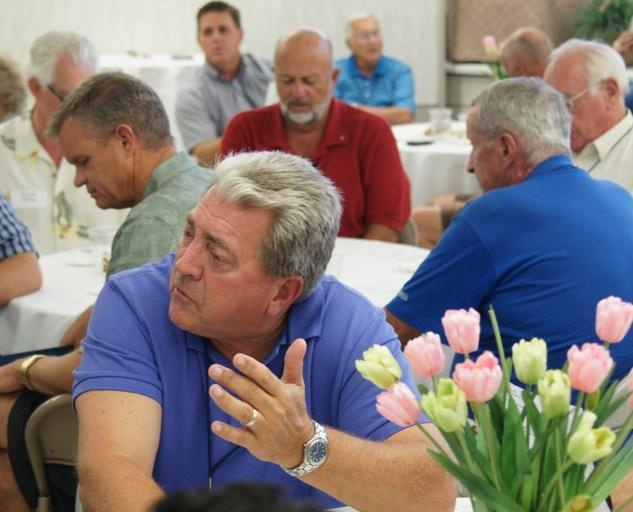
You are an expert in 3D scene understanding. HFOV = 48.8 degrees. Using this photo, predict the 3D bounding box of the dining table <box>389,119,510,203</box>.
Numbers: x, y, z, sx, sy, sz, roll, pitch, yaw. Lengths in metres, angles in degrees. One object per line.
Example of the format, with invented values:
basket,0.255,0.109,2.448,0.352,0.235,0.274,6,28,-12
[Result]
dining table,0.916,-0.689,4.926,0.607,0.640,0.639,-4,17,-2

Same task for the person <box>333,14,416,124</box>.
person,0.444,-1.657,6.297,0.822,0.958,0.634,-6,22,-8

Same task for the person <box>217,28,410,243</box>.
person,-0.043,-0.537,3.440,0.976,1.089,0.633,1,14,7

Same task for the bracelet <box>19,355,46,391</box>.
bracelet,-0.791,0.314,1.924,0.055,0.095,0.091,4,6,18

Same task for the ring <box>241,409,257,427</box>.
ring,-0.123,0.294,1.272,0.010,0.029,0.024,25,-40,-24
